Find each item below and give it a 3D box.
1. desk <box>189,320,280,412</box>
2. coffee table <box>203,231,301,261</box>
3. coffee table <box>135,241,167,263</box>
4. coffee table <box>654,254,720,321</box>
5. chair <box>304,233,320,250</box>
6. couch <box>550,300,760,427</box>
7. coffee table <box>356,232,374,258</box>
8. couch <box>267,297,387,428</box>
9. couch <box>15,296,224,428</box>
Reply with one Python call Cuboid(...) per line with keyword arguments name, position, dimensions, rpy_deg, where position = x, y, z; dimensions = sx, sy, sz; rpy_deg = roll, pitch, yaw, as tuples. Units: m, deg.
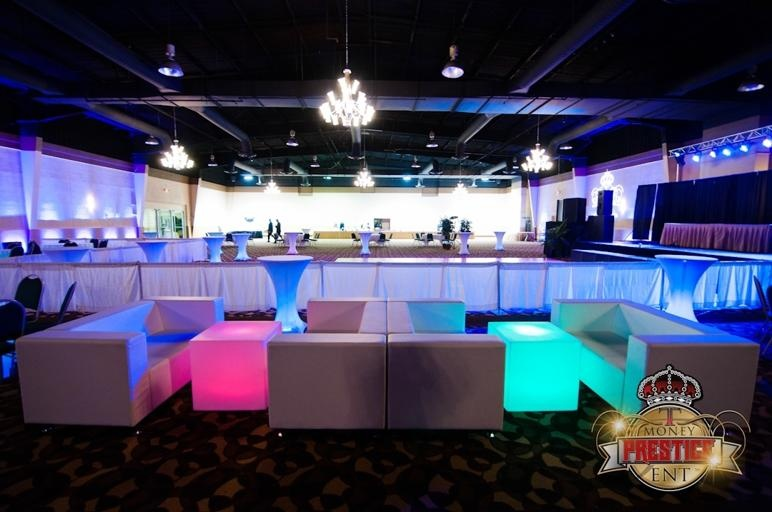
Cuboid(name="desk", position=(-2.199, 1.503, 7.151), dimensions=(1.199, 1.073, 1.171), rpy_deg=(0, 5, -6))
Cuboid(name="coffee table", position=(-4.502, -0.349, 16.361), dimensions=(4.813, 1.213, 1.158), rpy_deg=(4, 7, 35))
Cuboid(name="coffee table", position=(-5.677, -0.145, 11.931), dimensions=(0.667, 0.466, 0.621), rpy_deg=(-3, 5, -45))
Cuboid(name="coffee table", position=(5.251, 0.608, 8.643), dimensions=(1.017, 1.163, 1.016), rpy_deg=(7, 7, 34))
Cuboid(name="chair", position=(-3.262, -0.628, 21.429), dimensions=(0.467, 0.452, 1.084), rpy_deg=(2, 2, 0))
Cuboid(name="couch", position=(3.541, 1.300, 7.094), dimensions=(1.470, 0.838, 1.924), rpy_deg=(-5, 15, -22))
Cuboid(name="coffee table", position=(-0.682, -0.435, 16.393), dimensions=(0.792, 0.833, 0.781), rpy_deg=(0, 2, -2))
Cuboid(name="couch", position=(-0.642, 1.478, 7.401), dimensions=(1.769, 1.249, 2.372), rpy_deg=(2, 11, 10))
Cuboid(name="couch", position=(-3.789, 1.423, 7.582), dimensions=(1.646, 1.108, 2.706), rpy_deg=(2, 8, 12))
